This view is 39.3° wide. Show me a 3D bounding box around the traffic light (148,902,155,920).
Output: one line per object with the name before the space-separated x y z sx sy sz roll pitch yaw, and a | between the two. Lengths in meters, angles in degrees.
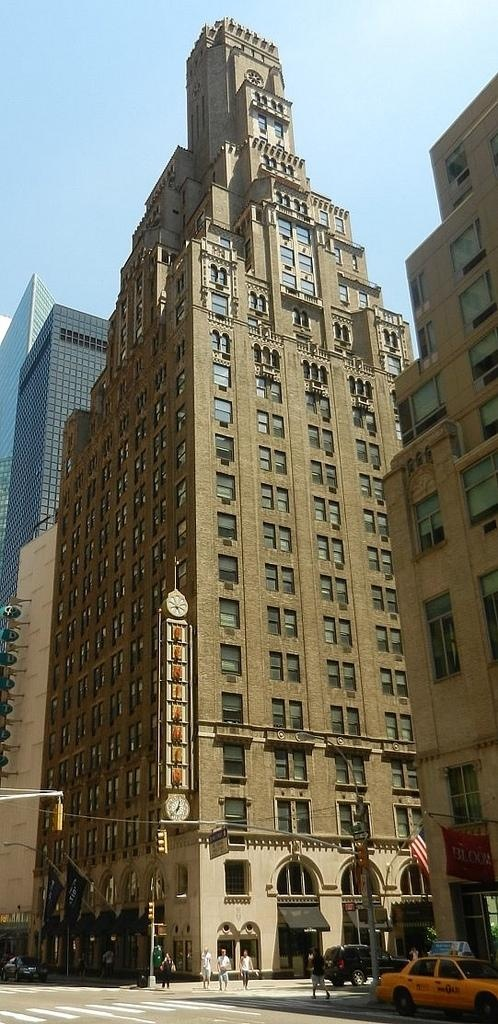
traffic light | -4.981 20.346 35.460 0.135 0.810 0.880 4 -28 -16

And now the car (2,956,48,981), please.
car | -14.543 29.642 45.138 1.522 1.369 4.140 14 -35 -33

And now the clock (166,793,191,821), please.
clock | -3.780 15.354 36.306 1.100 1.471 1.619 -3 -27 -3

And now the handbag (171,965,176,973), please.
handbag | -4.188 25.222 38.512 0.155 0.415 0.453 10 -30 -27

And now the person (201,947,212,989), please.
person | -2.032 21.579 32.901 0.309 1.426 1.308 1 -26 -9
